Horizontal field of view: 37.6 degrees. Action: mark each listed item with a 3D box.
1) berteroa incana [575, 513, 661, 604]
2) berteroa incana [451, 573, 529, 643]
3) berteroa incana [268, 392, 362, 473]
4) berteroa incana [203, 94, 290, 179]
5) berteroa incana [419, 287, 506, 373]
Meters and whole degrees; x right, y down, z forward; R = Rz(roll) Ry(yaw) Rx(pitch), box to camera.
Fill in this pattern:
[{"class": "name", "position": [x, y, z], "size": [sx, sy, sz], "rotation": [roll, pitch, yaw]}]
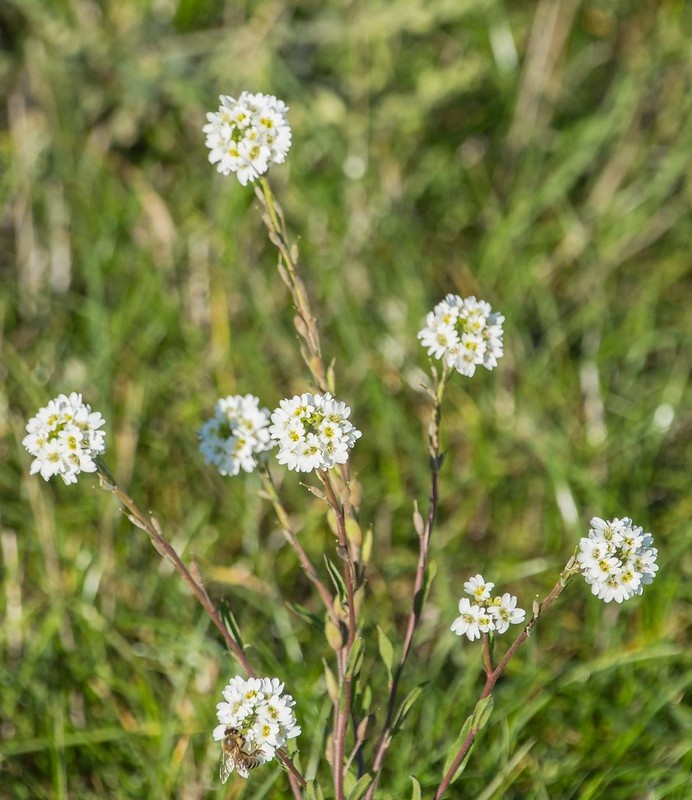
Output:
[{"class": "berteroa incana", "position": [0.610, 0.358, 2.316], "size": [0.185, 0.117, 0.188], "rotation": [-5, 65, 0]}, {"class": "berteroa incana", "position": [0.341, 0.504, 2.439], "size": [0.175, 0.091, 0.227], "rotation": [6, 86, 7]}, {"class": "berteroa incana", "position": [-0.072, 0.085, 2.342], "size": [0.190, 0.137, 0.190], "rotation": [-19, 65, -7]}, {"class": "berteroa incana", "position": [-0.227, -0.621, 2.438], "size": [0.174, 0.111, 0.228], "rotation": [-2, 88, -2]}, {"class": "berteroa incana", "position": [0.281, -0.160, 2.514], "size": [0.182, 0.116, 0.201], "rotation": [-34, 96, -1]}]
